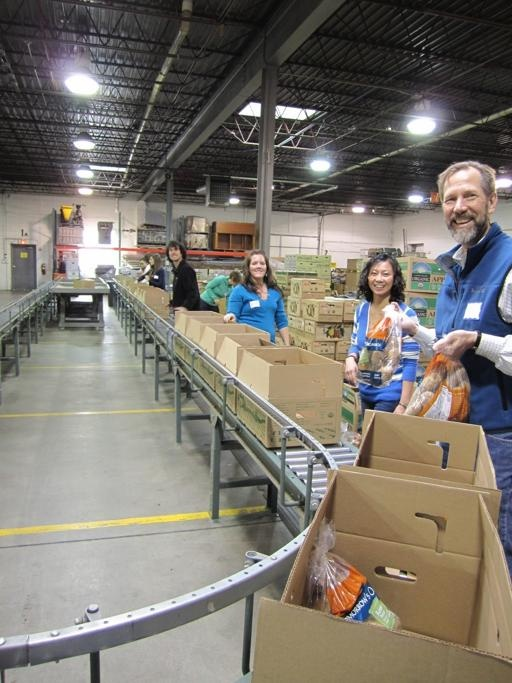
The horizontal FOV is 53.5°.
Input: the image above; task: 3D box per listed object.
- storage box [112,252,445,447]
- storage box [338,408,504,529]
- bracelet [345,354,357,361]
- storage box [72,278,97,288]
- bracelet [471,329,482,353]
[{"bbox_3d":[-0.539,-0.328,4.319,0.462,0.240,5.177,-3,12,-16],"label":"storage box"},{"bbox_3d":[0.377,0.248,1.078,0.206,0.119,0.199,4,19,1],"label":"storage box"},{"bbox_3d":[0.438,0.072,2.335,0.033,0.031,0.032,-9,17,-33],"label":"bracelet"},{"bbox_3d":[-3.017,-0.981,8.944,0.352,0.131,0.252,-3,10,-35],"label":"storage box"},{"bbox_3d":[0.528,0.002,1.214,0.009,0.035,0.038,22,19,20],"label":"bracelet"}]
